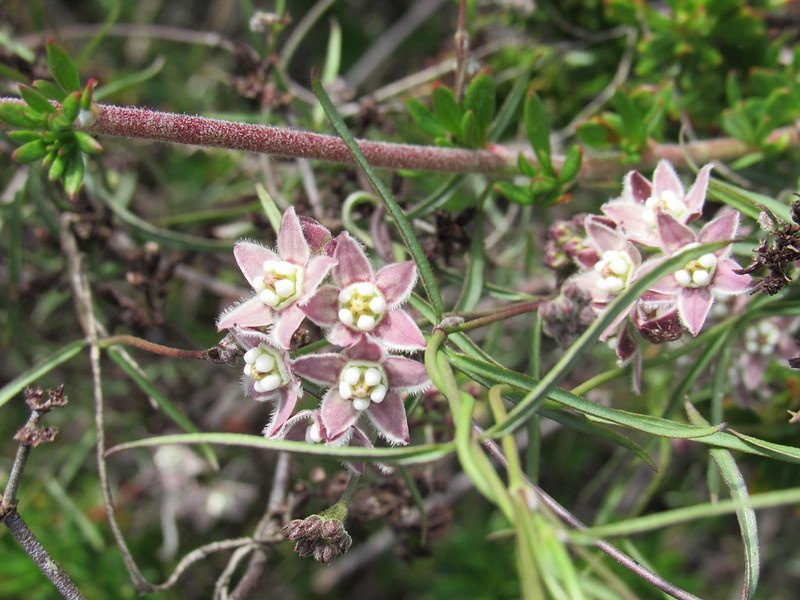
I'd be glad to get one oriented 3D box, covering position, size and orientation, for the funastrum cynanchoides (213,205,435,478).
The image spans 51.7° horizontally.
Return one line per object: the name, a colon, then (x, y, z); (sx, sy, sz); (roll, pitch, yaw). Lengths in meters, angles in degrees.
funastrum cynanchoides: (-0.253, 0.140, 2.830); (0.732, 0.497, 0.667); (13, 57, -6)
